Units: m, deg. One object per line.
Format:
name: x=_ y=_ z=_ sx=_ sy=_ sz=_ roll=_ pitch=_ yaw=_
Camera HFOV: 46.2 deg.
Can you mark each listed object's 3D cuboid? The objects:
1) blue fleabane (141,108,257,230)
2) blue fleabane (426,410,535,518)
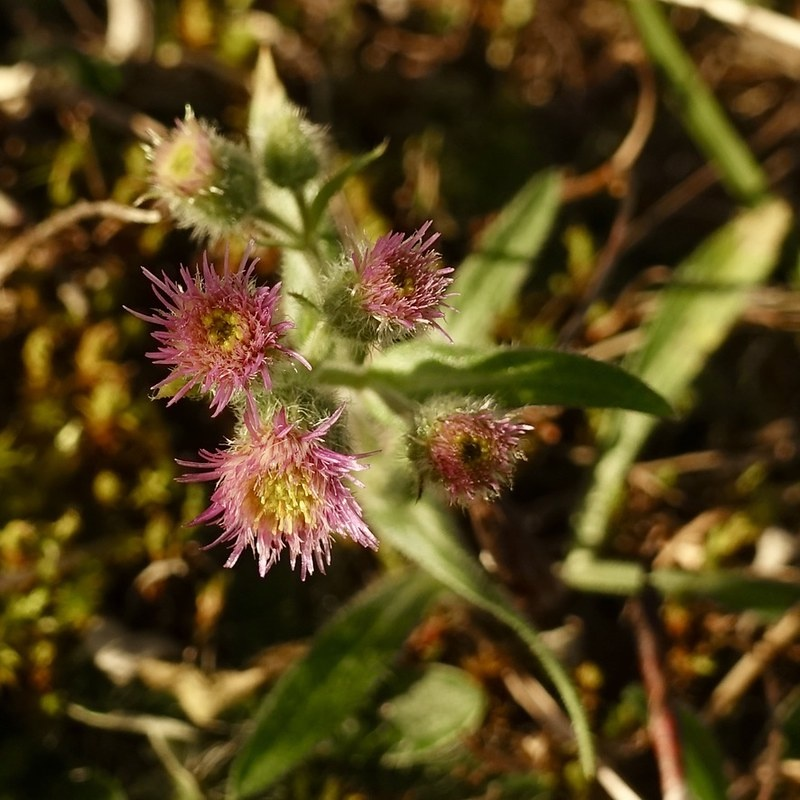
blue fleabane: x=-0.484 y=-0.499 z=1.965 sx=0.088 sy=0.310 sz=0.210 roll=-59 pitch=37 yaw=28
blue fleabane: x=0.161 y=0.127 z=1.856 sx=0.240 sy=0.085 sz=0.189 roll=-17 pitch=84 yaw=0
